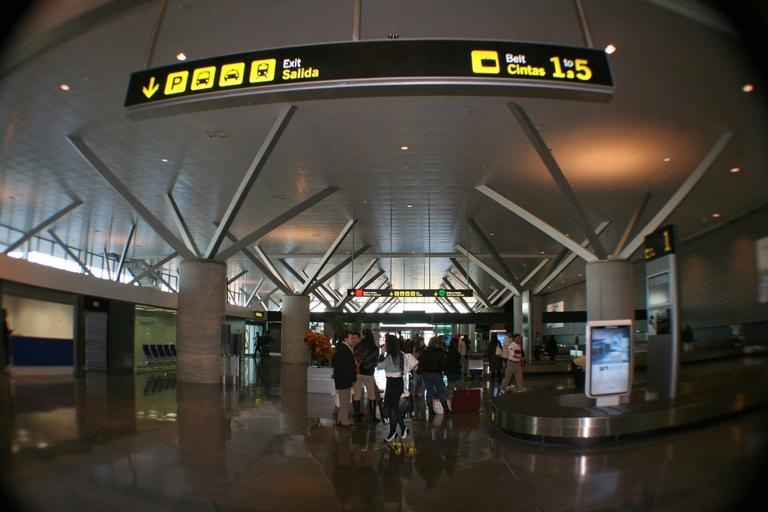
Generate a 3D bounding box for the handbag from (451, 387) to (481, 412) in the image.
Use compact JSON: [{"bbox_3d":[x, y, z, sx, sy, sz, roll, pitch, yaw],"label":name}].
[{"bbox_3d":[2.402,4.360,16.110,0.770,0.727,0.176,9,-10,-33],"label":"handbag"}]
